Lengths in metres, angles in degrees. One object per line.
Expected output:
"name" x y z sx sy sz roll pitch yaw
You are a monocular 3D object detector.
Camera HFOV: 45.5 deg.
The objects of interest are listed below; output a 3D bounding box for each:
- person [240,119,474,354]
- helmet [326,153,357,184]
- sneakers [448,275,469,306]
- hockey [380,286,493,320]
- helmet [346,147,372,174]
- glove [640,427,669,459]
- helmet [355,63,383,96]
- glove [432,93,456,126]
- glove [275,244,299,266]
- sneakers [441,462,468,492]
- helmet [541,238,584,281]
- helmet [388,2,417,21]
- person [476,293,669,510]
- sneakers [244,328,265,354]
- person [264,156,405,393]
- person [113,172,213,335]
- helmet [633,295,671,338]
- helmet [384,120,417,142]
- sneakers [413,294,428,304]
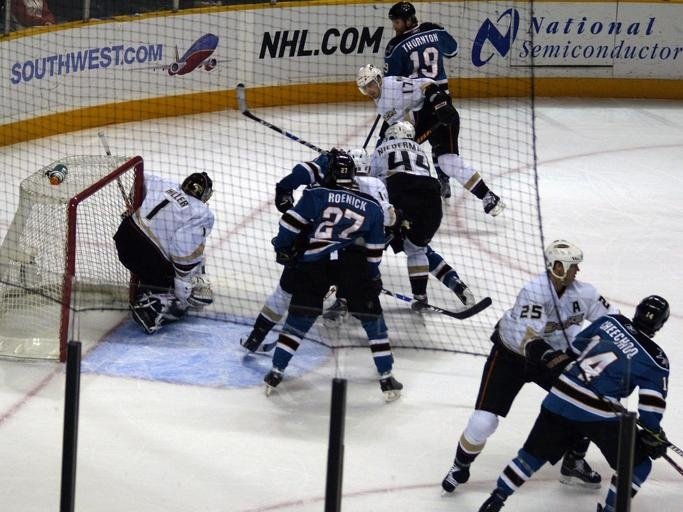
"person" 0.144 -0.098 5.354 1.663 1.494 1.148 -19 -16 34
"helmet" -0.009 -0.504 4.605 0.157 0.159 0.183 4 23 -3
"sneakers" 0.812 0.228 5.506 0.186 0.084 0.118 40 2 -9
"hockey" 0.657 0.326 5.536 0.664 0.068 0.107 11 48 2
"helmet" 0.117 -0.599 5.082 0.138 0.157 0.156 2 -5 2
"glove" 1.416 0.852 3.726 0.159 0.092 0.060 33 21 34
"helmet" 0.220 -1.335 6.192 0.177 0.227 0.269 4 14 2
"glove" 0.770 -1.153 6.284 0.132 0.209 0.275 -28 37 10
"glove" -0.310 -0.004 4.721 0.130 0.111 0.092 5 -12 8
"sneakers" 0.560 1.049 3.886 0.149 0.148 0.073 -4 16 -28
"helmet" 1.124 0.015 4.173 0.222 0.192 0.166 2 22 11
"helmet" 0.509 -2.037 6.722 0.198 0.160 0.143 5 7 -2
"person" 1.195 0.712 3.792 0.629 0.989 0.791 13 17 32
"sneakers" -0.481 0.473 4.518 0.063 0.065 0.161 10 17 6
"person" -0.013 0.059 4.435 0.717 1.194 1.277 2 14 -5
"person" -1.089 -0.040 4.969 0.618 0.870 1.358 1 14 -13
"helmet" 1.496 0.268 3.926 0.162 0.174 0.211 31 17 16
"helmet" 0.405 -0.842 5.568 0.184 0.147 0.132 -35 40 -24
"sneakers" 0.542 0.296 5.527 0.130 0.039 0.082 -2 -23 4
